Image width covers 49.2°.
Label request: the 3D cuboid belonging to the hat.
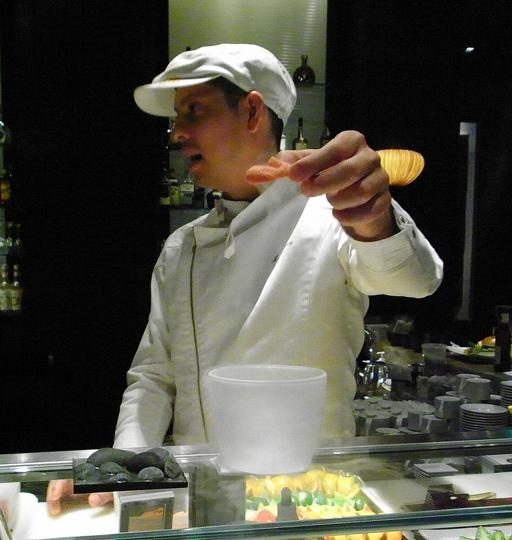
[{"bbox_3d":[-0.086,-0.416,1.274,0.374,0.145,0.237,1,-8,-17],"label":"hat"}]
